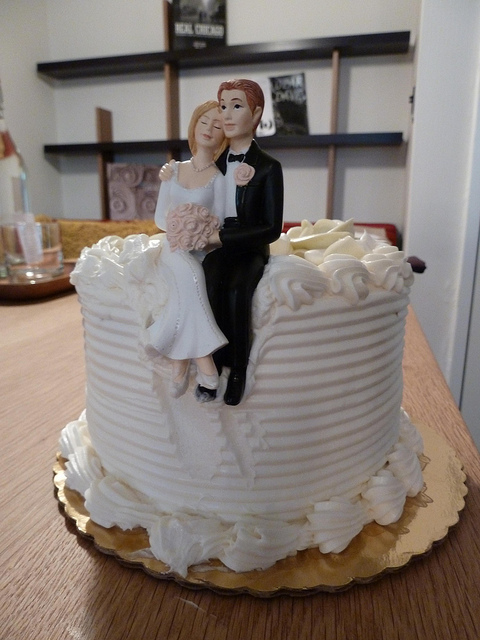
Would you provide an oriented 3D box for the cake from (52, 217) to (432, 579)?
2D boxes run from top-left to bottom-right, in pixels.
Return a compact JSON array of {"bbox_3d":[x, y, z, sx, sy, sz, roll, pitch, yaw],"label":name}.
[{"bbox_3d":[0.013,0.074,1.215,0.750,0.471,0.789,16,20,41],"label":"cake"}]

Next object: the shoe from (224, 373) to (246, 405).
[{"bbox_3d":[-0.007,0.099,0.842,0.021,0.054,0.023,2,-15,15],"label":"shoe"}]

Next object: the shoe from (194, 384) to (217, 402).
[{"bbox_3d":[-0.050,0.104,0.832,0.023,0.013,0.040,1,10,-2],"label":"shoe"}]

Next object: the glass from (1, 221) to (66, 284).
[{"bbox_3d":[-0.818,-0.281,2.326,0.258,0.278,0.261,-3,17,-6],"label":"glass"}]

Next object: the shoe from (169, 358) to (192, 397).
[{"bbox_3d":[-0.091,0.089,0.874,0.023,0.066,0.022,14,17,34],"label":"shoe"}]

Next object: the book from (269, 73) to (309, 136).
[{"bbox_3d":[0.268,-1.243,3.360,0.253,0.337,0.010,16,27,37],"label":"book"}]
